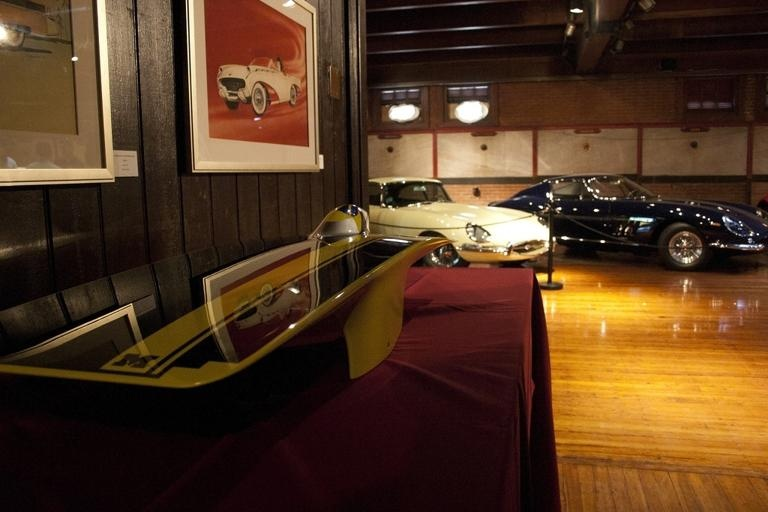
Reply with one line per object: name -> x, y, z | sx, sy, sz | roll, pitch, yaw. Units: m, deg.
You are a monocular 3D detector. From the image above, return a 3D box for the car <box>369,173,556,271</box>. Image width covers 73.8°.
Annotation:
car -> 0.723, -0.439, 5.507 | 1.964, 0.607, 0.963 | 7, 10, 36
